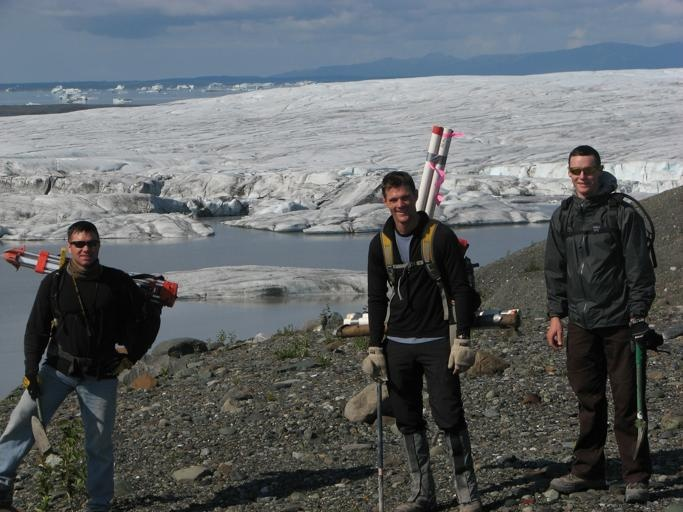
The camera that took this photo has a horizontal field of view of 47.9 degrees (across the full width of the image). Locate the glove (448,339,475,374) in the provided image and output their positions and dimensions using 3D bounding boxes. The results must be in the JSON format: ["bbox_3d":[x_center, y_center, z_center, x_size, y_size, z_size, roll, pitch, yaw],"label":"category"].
[{"bbox_3d":[0.753,0.640,4.924,0.176,0.240,0.124,-7,12,14],"label":"glove"}]

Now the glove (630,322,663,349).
[{"bbox_3d":[1.990,0.532,5.022,0.242,0.155,0.086,23,-31,-21],"label":"glove"}]

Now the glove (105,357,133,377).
[{"bbox_3d":[-1.590,0.792,5.486,0.177,0.105,0.052,-40,14,-7],"label":"glove"}]

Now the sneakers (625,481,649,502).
[{"bbox_3d":[1.912,1.532,4.982,0.126,0.074,0.146,-4,2,9],"label":"sneakers"}]

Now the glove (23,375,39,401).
[{"bbox_3d":[-2.186,0.919,5.383,0.169,0.178,0.049,1,17,45],"label":"glove"}]

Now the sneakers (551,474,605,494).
[{"bbox_3d":[1.596,1.562,5.319,0.406,0.135,0.131,2,1,-1],"label":"sneakers"}]

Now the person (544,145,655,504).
[{"bbox_3d":[1.743,0.429,5.156,0.742,2.315,0.842,-7,12,19],"label":"person"}]
